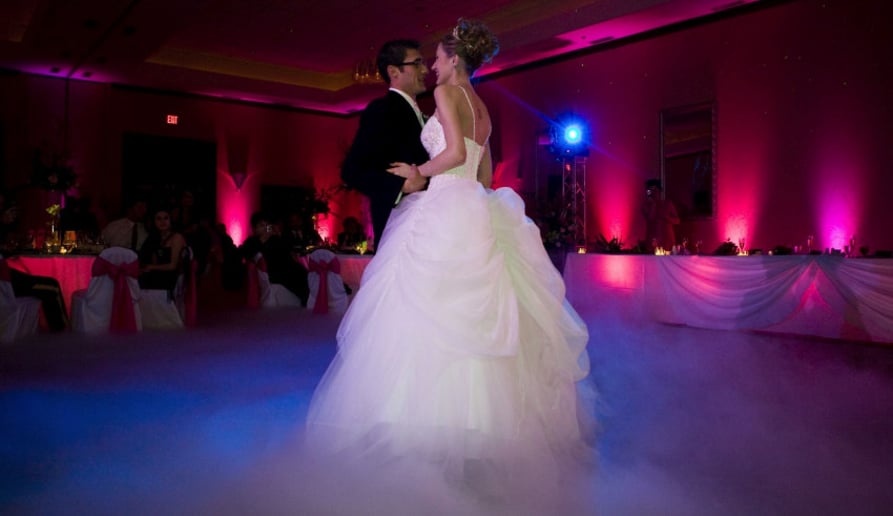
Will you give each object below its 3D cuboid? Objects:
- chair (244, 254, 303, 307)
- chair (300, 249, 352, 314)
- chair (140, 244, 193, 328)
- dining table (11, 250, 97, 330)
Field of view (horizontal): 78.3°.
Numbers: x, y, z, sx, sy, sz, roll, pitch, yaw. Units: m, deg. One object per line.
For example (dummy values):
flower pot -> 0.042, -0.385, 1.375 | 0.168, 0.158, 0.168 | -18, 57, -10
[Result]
chair -> -3.390, 0.380, 10.993 | 1.015, 1.364, 1.005 | -1, 2, -11
chair -> -2.190, 0.472, 9.998 | 0.923, 1.290, 0.719 | -1, 15, 14
chair -> -4.387, 0.349, 8.493 | 0.738, 1.088, 0.800 | -8, 19, -33
dining table -> -5.949, 0.500, 8.592 | 1.111, 0.762, 1.161 | 0, -4, 24
